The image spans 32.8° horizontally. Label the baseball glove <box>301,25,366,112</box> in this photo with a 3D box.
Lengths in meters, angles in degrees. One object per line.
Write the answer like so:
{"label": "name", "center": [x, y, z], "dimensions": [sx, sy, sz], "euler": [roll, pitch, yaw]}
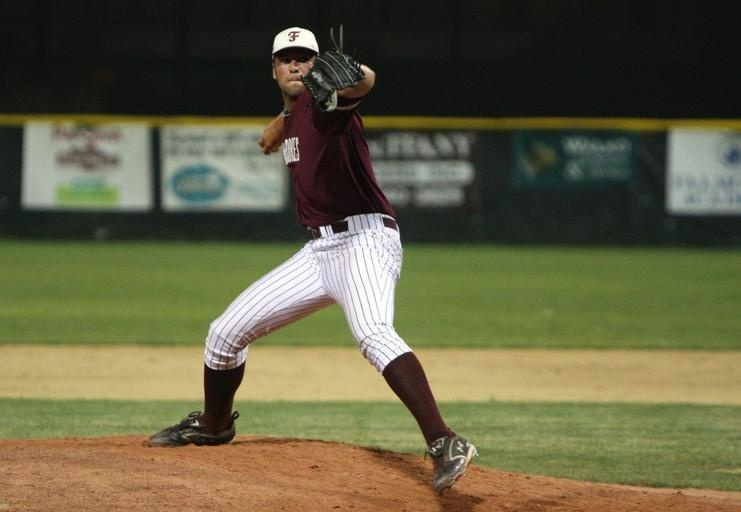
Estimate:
{"label": "baseball glove", "center": [-0.330, -1.653, 11.565], "dimensions": [0.553, 0.644, 0.260], "euler": [-1, 14, -11]}
